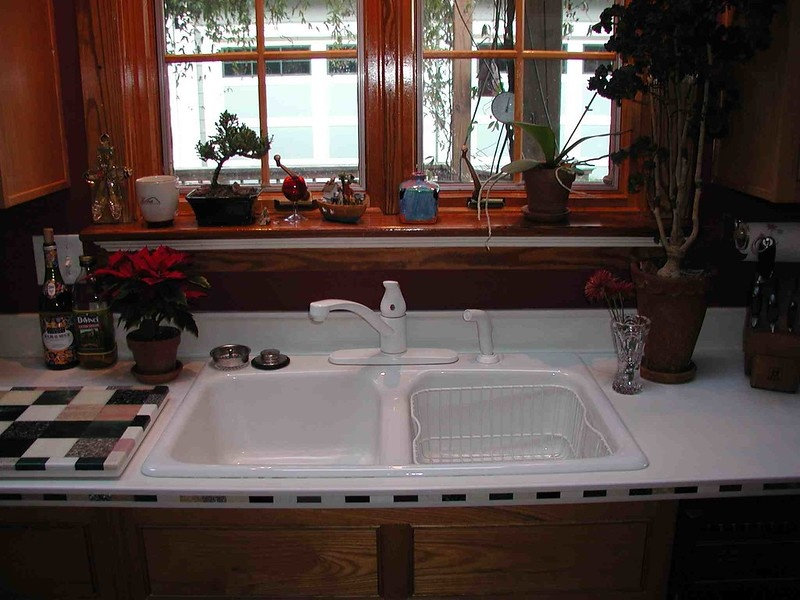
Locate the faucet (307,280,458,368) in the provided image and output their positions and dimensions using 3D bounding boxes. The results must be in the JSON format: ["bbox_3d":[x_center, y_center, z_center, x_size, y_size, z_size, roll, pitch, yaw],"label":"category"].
[{"bbox_3d":[-0.046,0.072,2.105,0.467,0.284,0.146,-1,-7,-6],"label":"faucet"}]

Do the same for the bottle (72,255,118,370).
[{"bbox_3d":[-0.960,0.028,2.060,0.168,0.349,0.170,4,19,-1],"label":"bottle"}]

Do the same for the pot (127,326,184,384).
[{"bbox_3d":[-0.711,0.159,1.968,0.159,0.164,0.166,2,12,0],"label":"pot"}]

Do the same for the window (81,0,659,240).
[{"bbox_3d":[0.006,-0.630,2.162,1.549,0.736,0.160,-3,17,2],"label":"window"}]

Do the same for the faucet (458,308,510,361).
[{"bbox_3d":[0.245,0.098,2.089,0.165,0.233,0.104,3,12,-2],"label":"faucet"}]

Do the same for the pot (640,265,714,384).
[{"bbox_3d":[0.822,0.080,2.009,0.224,0.317,0.232,1,10,0],"label":"pot"}]

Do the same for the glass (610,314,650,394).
[{"bbox_3d":[0.686,0.139,1.975,0.103,0.214,0.213,3,19,19],"label":"glass"}]

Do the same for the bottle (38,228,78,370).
[{"bbox_3d":[-1.074,-0.005,2.030,0.104,0.442,0.107,-3,17,1],"label":"bottle"}]
